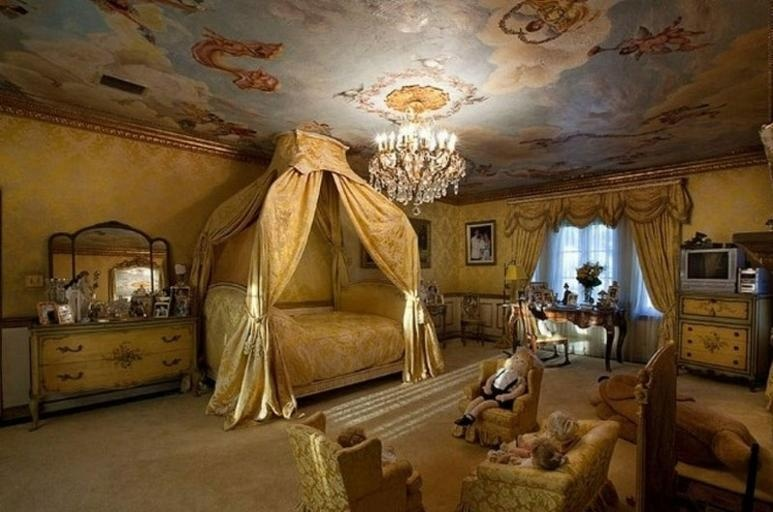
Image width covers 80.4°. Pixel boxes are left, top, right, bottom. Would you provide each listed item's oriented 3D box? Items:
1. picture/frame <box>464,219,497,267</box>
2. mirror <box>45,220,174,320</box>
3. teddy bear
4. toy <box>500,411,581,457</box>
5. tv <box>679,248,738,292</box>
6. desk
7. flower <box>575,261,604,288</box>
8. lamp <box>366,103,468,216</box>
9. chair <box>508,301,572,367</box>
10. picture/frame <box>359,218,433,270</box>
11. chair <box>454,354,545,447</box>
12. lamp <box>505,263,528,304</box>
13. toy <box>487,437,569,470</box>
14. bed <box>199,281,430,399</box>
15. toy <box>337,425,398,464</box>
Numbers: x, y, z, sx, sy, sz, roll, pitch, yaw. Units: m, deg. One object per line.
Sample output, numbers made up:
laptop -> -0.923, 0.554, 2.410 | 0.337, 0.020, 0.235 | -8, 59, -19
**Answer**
picture/frame -> 2.099, -0.304, 10.031 | 0.097, 1.161, 1.039 | 4, -8, -43
mirror -> -3.841, 0.232, 6.468 | 1.708, 1.553, 0.047 | 3, 7, 14
teddy bear -> 2.778, 1.721, 4.831 | 1.093, 0.443, 1.773 | 21, -8, -41
toy -> 1.407, 1.633, 4.230 | 0.713, 0.230, 0.514 | -13, -10, -2
tv -> 5.093, 0.255, 7.326 | 0.787, 0.657, 0.507 | 0, -9, 19
desk -> 3.351, 1.379, 8.366 | 0.780, 0.876, 1.857 | 2, -1, -39
flower -> 3.739, 0.329, 8.320 | 0.487, 0.482, 0.383 | 0, -4, 2
lamp -> 0.420, -1.351, 6.122 | 1.590, 1.365, 1.513 | 1, -2, 0
chair -> 2.814, 1.352, 8.153 | 0.802, 1.086, 0.715 | -3, -2, 11
picture/frame -> 0.105, -0.198, 7.422 | 1.176, 0.770, 0.044 | 4, -4, -44
chair -> 1.347, 1.678, 5.502 | 1.115, 0.913, 0.995 | 2, 0, -6
lamp -> 2.675, 0.519, 9.277 | 0.387, 0.607, 0.392 | -3, -11, -6
toy -> 1.222, 1.716, 3.955 | 0.435, 0.146, 0.354 | -7, -6, 33
bed -> -1.314, 1.102, 7.423 | 3.141, 1.361, 2.952 | -1, 3, -20
toy -> -0.279, 1.711, 4.090 | 0.361, 0.180, 0.574 | 2, 2, -42
